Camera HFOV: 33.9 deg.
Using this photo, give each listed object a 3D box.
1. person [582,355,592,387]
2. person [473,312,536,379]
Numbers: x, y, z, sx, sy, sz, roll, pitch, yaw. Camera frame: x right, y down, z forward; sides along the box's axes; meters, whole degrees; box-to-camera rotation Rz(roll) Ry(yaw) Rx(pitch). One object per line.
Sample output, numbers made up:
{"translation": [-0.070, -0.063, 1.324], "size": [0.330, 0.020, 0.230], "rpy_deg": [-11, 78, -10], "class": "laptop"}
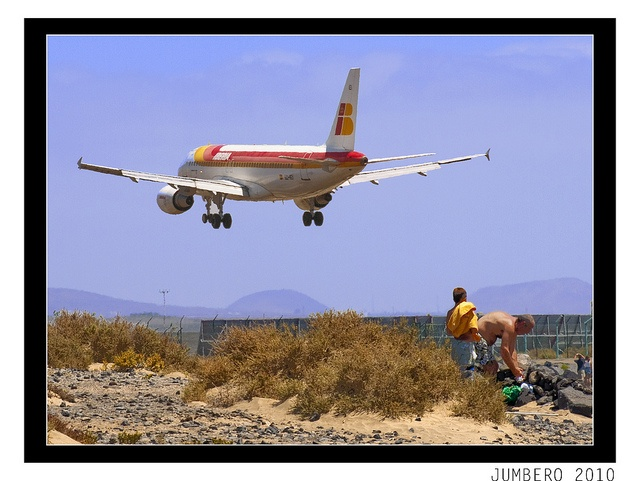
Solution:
{"translation": [7.743, 3.751, 30.375], "size": [0.215, 0.782, 0.750], "rpy_deg": [5, -3, 10], "class": "person"}
{"translation": [3.995, 2.263, 22.936], "size": [1.170, 1.379, 0.867], "rpy_deg": [5, -3, 7], "class": "person"}
